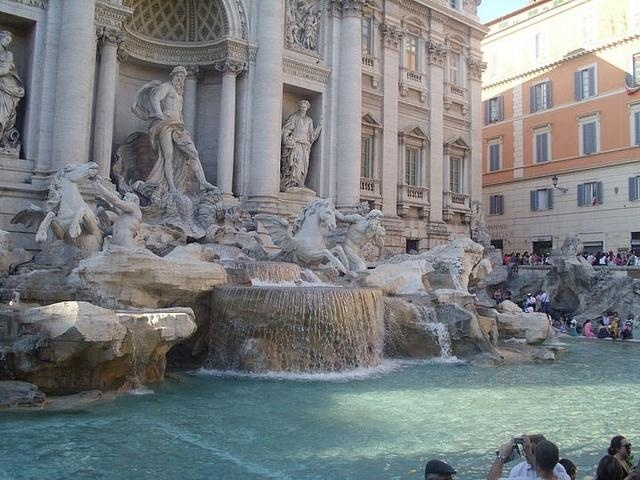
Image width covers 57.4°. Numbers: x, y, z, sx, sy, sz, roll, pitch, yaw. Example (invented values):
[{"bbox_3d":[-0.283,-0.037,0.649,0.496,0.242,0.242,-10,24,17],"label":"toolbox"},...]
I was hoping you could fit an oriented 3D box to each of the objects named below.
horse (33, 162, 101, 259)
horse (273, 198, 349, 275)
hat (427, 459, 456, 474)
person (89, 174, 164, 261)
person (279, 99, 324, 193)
[{"bbox_3d":[-4.977,-0.617,11.855,1.082,1.959,1.324,4,-3,-20],"label":"horse"},{"bbox_3d":[-0.009,-0.066,14.243,1.773,1.496,1.922,3,1,34],"label":"horse"},{"bbox_3d":[0.916,1.737,4.443,0.176,0.083,0.123,-4,-6,1],"label":"hat"},{"bbox_3d":[-4.238,-0.211,12.066,1.317,1.824,0.921,8,-19,1],"label":"person"},{"bbox_3d":[-0.765,-3.283,20.930,0.635,3.253,1.518,0,-4,41],"label":"person"}]
